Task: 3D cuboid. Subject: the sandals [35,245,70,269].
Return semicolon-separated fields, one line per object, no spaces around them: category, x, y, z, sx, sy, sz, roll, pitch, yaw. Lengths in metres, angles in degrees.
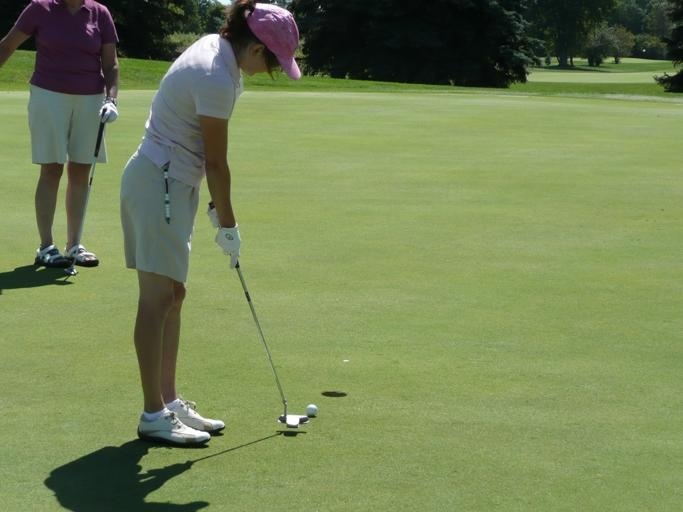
sandals;-2.291;0.014;7.796;0.309;0.143;0.149;3;6;30

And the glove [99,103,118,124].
glove;-1.824;-1.101;7.626;0.088;0.111;0.243;-16;32;3

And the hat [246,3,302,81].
hat;-0.353;-1.134;5.177;0.319;0.386;0.236;0;7;-20

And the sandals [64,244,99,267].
sandals;-2.098;0.002;7.850;0.119;0.130;0.314;-17;19;-42

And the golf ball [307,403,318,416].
golf ball;-0.167;0.843;5.404;0.048;0.054;0.057;12;16;30

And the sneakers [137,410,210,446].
sneakers;-0.901;0.914;5.205;0.395;0.182;0.148;5;-3;12

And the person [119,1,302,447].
person;-0.742;-0.181;5.213;0.849;2.328;0.406;0;7;-13
